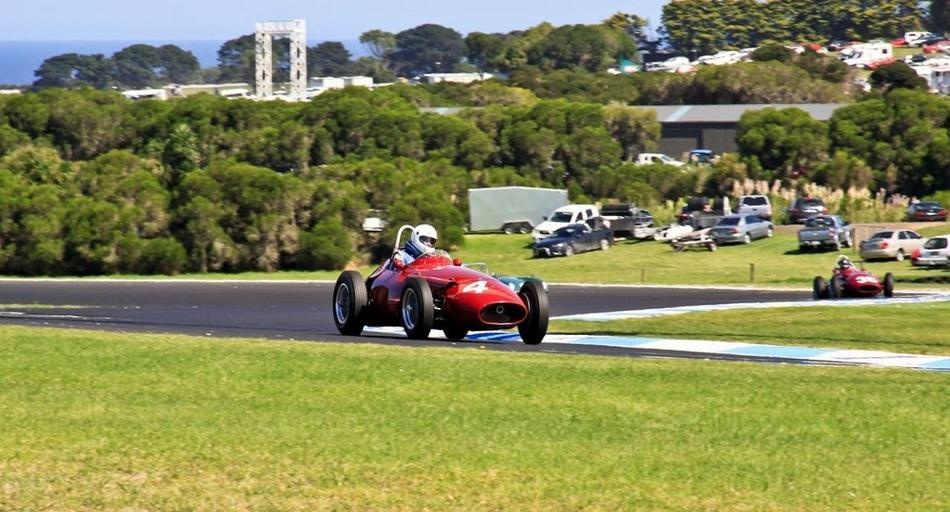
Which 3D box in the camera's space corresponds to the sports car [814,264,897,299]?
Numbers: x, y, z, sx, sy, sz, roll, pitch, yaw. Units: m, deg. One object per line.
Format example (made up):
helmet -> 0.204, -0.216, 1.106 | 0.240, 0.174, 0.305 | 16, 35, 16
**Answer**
sports car -> 34.011, 2.307, 149.680 | 6.749, 2.794, 1.132 | -1, 3, -1
